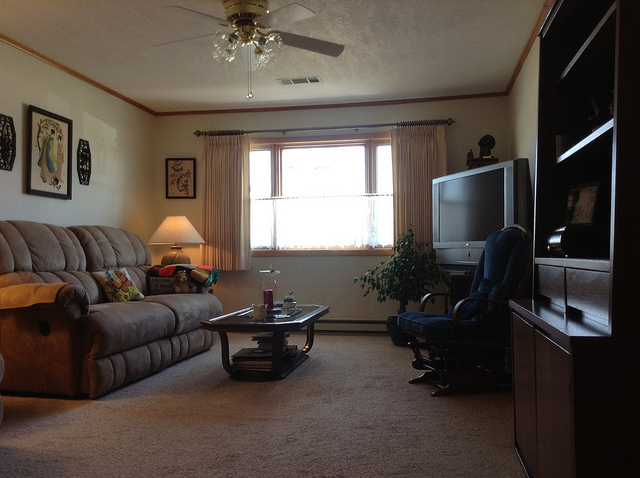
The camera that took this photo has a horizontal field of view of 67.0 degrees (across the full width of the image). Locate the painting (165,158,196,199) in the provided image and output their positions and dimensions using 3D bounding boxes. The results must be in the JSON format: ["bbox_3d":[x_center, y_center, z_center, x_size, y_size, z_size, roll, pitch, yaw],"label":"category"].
[{"bbox_3d":[-1.798,-0.806,6.278,0.476,0.651,0.050,-1,2,12],"label":"painting"}]

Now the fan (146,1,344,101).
[{"bbox_3d":[-0.460,-1.450,3.415,0.917,0.303,0.965,-1,-1,9],"label":"fan"}]

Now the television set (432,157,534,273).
[{"bbox_3d":[1.662,-0.169,4.936,0.431,1.087,1.153,2,-4,-30],"label":"television set"}]

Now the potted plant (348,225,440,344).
[{"bbox_3d":[0.669,0.500,5.671,1.085,1.506,1.032,-1,1,-4],"label":"potted plant"}]

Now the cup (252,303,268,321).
[{"bbox_3d":[-0.482,0.588,3.890,0.101,0.142,0.109,-1,-4,0],"label":"cup"}]

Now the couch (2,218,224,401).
[{"bbox_3d":[-1.874,0.508,4.149,1.139,1.277,1.659,0,2,20],"label":"couch"}]

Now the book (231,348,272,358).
[{"bbox_3d":[-0.560,0.939,4.001,0.206,0.054,0.218,0,-1,9],"label":"book"}]

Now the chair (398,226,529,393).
[{"bbox_3d":[1.111,0.491,3.711,0.870,1.262,0.835,1,-3,-19],"label":"chair"}]

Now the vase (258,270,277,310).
[{"bbox_3d":[-0.462,0.445,4.262,0.138,0.377,0.498,-1,2,-7],"label":"vase"}]

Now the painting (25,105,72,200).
[{"bbox_3d":[-2.637,-0.831,4.697,0.040,0.844,0.564,0,2,17],"label":"painting"}]
